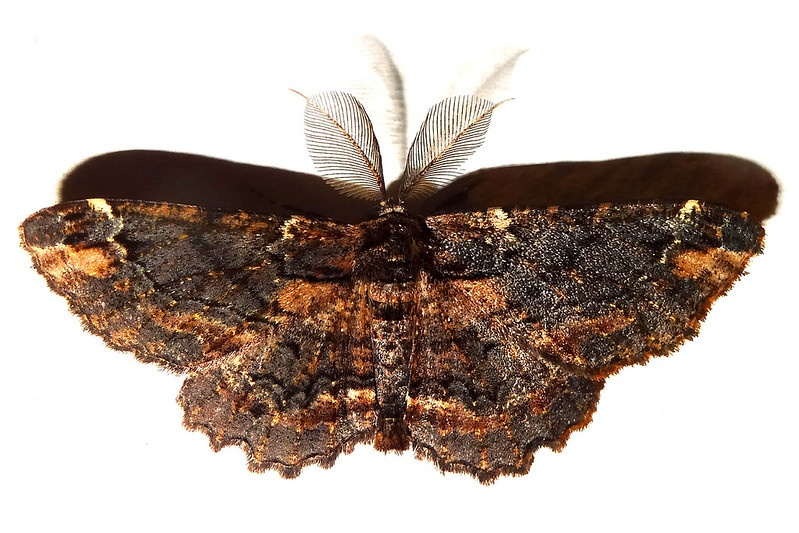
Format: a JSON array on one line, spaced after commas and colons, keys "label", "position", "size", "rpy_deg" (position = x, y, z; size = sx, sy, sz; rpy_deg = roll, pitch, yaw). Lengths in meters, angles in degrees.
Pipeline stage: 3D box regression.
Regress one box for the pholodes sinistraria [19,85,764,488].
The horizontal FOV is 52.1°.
[{"label": "pholodes sinistraria", "position": [-0.084, 0.142, 4.536], "size": [5.643, 0.309, 1.982], "rpy_deg": [-1, -91, 3]}]
